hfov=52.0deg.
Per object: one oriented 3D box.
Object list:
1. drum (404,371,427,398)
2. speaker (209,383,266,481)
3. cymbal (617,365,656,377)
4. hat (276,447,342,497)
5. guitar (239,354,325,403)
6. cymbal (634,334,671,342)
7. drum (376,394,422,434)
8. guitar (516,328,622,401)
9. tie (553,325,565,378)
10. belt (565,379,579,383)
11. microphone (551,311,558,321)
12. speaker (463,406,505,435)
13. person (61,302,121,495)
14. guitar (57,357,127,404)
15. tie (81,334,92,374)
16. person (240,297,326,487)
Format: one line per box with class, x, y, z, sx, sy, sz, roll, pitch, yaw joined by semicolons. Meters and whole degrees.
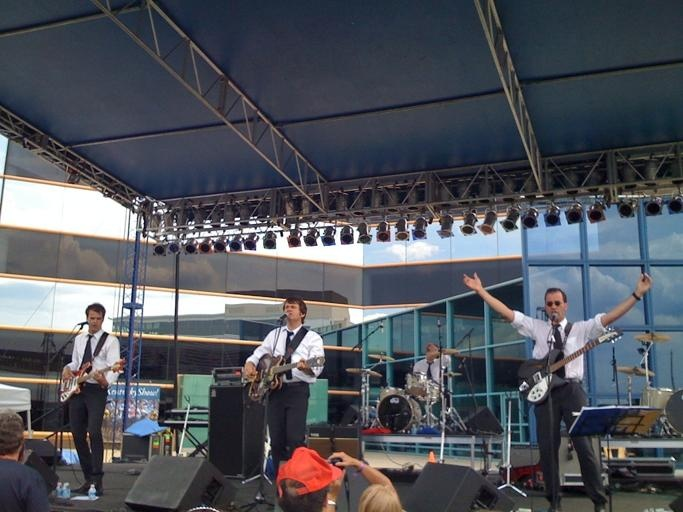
drum;1.268;2.168;11.965;0.387;0.246;0.389;8;-32;5
speaker;-1.462;2.584;10.105;0.806;1.562;0.928;5;-5;-20
cymbal;4.977;1.920;11.649;0.480;0.121;0.482;3;-1;-24
hat;-0.276;1.674;5.435;0.298;0.241;0.461;-3;0;22
guitar;-0.716;1.499;8.343;0.798;0.623;0.764;1;-8;42
cymbal;5.396;1.426;12.178;0.334;0.083;0.333;7;-3;-29
drum;0.945;2.558;11.586;0.618;0.622;0.579;2;-7;18
guitar;2.553;1.306;8.024;0.916;0.914;0.788;0;-8;30
tie;2.431;0.996;7.794;0.048;0.463;0.185;16;-54;3
belt;2.586;1.383;7.774;0.206;0.039;0.061;10;-15;-36
microphone;2.388;0.684;7.907;0.069;0.079;0.087;7;-48;3
speaker;2.201;2.520;10.741;0.428;0.274;0.436;3;-9;-10
person;-3.139;1.791;8.895;0.765;2.391;0.477;-5;-13;24
guitar;-3.158;1.538;8.994;0.707;0.590;0.628;13;-9;-42
tie;-3.240;1.254;8.990;0.133;0.325;0.033;-8;-25;24
person;-0.652;1.515;8.393;0.953;2.112;0.528;-4;-13;22
